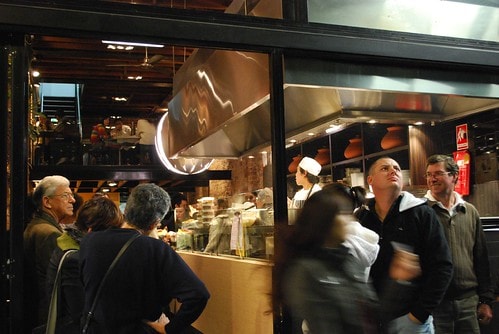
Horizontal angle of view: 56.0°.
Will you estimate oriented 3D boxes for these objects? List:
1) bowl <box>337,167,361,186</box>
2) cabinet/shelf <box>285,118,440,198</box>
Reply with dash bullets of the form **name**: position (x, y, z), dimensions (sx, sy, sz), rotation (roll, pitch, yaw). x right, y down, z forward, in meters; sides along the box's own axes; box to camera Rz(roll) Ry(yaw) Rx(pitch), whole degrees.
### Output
- **bowl**: position (1.181, 0.109, 5.504), dimensions (0.193, 0.185, 0.344), rotation (3, -4, 1)
- **cabinet/shelf**: position (1.086, -0.068, 5.871), dimensions (1.704, 0.667, 0.282), rotation (-12, 0, 28)
